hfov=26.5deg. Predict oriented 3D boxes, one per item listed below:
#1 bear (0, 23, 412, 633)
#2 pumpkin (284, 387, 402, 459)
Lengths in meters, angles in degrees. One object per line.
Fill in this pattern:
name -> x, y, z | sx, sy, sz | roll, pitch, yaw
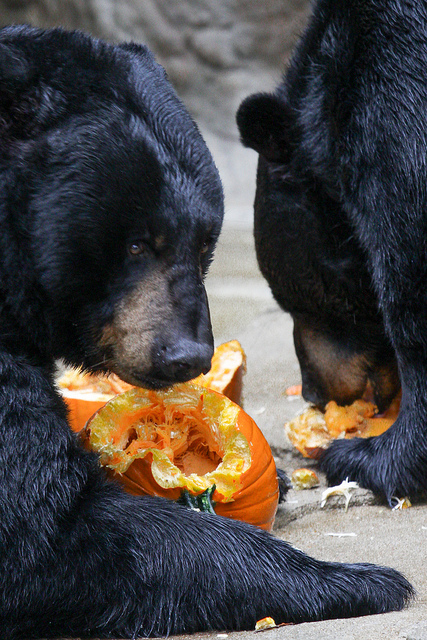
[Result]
bear -> -0.189, -0.010, 2.051 | 0.796, 1.365, 0.400 | -11, -1, -16
pumpkin -> 0.474, 0.388, 3.317 | 0.351, 0.113, 0.250 | -16, -3, -3
